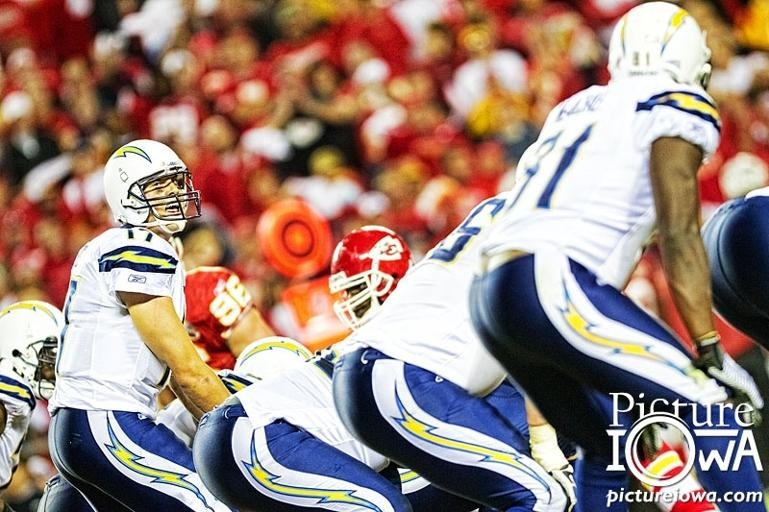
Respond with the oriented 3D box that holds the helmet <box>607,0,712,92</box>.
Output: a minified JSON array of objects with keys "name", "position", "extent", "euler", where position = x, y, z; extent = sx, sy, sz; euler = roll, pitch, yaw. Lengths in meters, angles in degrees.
[{"name":"helmet","position":[1.187,-0.903,4.487],"extent":[0.352,0.409,0.389],"euler":[2,-12,18]}]

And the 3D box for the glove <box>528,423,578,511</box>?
[{"name":"glove","position":[0.752,0.927,4.673],"extent":[0.125,0.357,0.261],"euler":[-16,-14,-21]}]

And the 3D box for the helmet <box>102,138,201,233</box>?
[{"name":"helmet","position":[-1.218,-0.359,5.446],"extent":[0.537,0.444,0.399],"euler":[10,11,32]}]
